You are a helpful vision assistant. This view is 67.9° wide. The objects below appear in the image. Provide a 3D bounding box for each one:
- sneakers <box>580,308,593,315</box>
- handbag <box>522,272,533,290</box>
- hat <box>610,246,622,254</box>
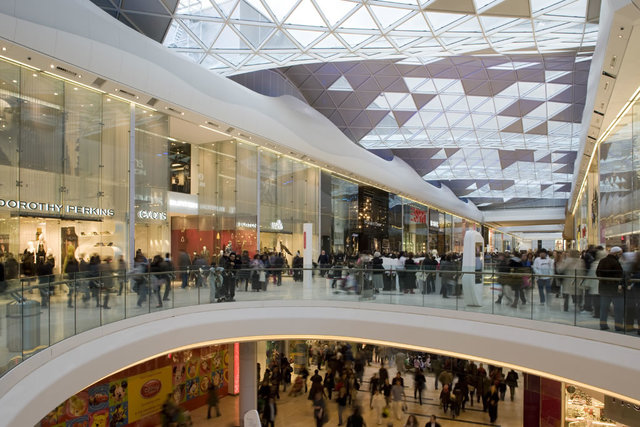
[{"bbox_3d":[9.675,3.595,17.152,0.100,0.227,0.450,5,3,-20],"label":"sneakers"},{"bbox_3d":[8.108,2.701,18.596,0.397,0.710,0.294,8,3,33],"label":"handbag"},{"bbox_3d":[11.726,1.463,18.803,0.393,0.130,0.421,-5,3,20],"label":"hat"}]
